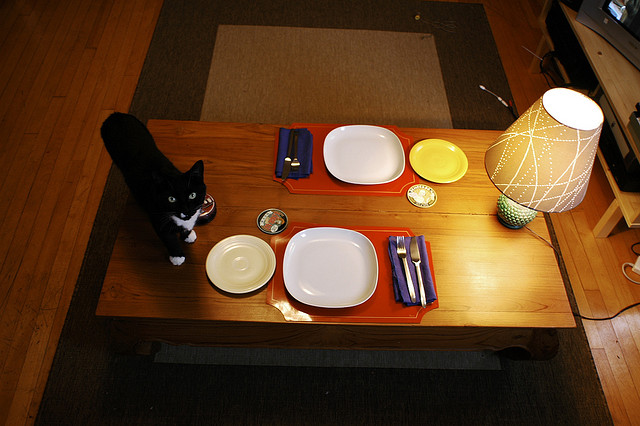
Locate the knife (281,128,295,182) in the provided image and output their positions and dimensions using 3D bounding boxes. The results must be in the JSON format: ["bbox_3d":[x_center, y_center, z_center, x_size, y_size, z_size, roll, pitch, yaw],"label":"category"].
[{"bbox_3d":[-0.192,-0.341,2.931,0.050,0.016,0.335,5,71,-3],"label":"knife"}]

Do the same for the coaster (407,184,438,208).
[{"bbox_3d":[0.590,-0.100,2.881,0.167,0.014,0.146,5,62,0],"label":"coaster"}]

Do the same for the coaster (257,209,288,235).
[{"bbox_3d":[-0.266,0.049,2.786,0.164,0.017,0.150,-1,62,-3],"label":"coaster"}]

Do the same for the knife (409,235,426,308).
[{"bbox_3d":[0.526,0.315,2.678,0.056,0.020,0.385,-2,71,-11],"label":"knife"}]

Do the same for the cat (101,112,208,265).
[{"bbox_3d":[-0.927,-0.118,2.805,0.257,0.526,0.917,-28,77,-32],"label":"cat"}]

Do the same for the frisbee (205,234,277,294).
[{"bbox_3d":[-0.426,0.273,2.683,0.358,0.064,0.324,-25,66,-15],"label":"frisbee"}]

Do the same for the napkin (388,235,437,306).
[{"bbox_3d":[0.469,0.313,2.677,0.219,0.041,0.350,-8,75,-8],"label":"napkin"}]
